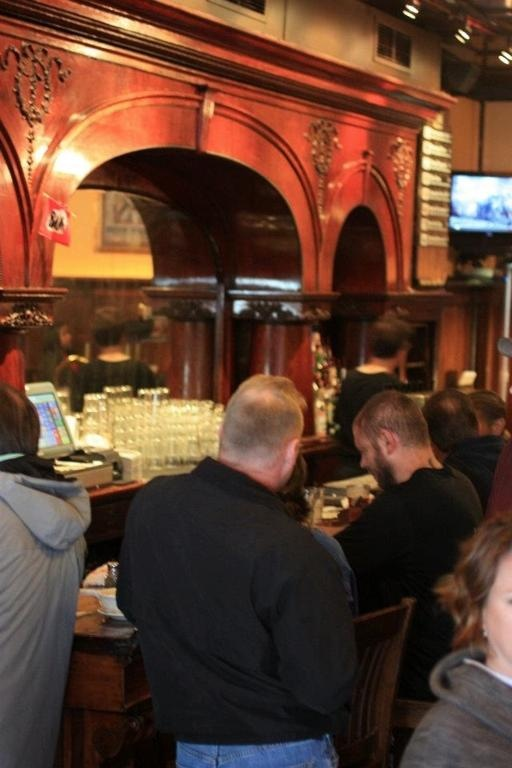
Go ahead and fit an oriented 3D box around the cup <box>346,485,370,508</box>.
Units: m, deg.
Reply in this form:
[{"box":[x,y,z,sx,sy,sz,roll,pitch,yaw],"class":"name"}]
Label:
[{"box":[0.526,0.572,3.408,0.140,0.135,0.075,1,2,4],"class":"cup"}]
